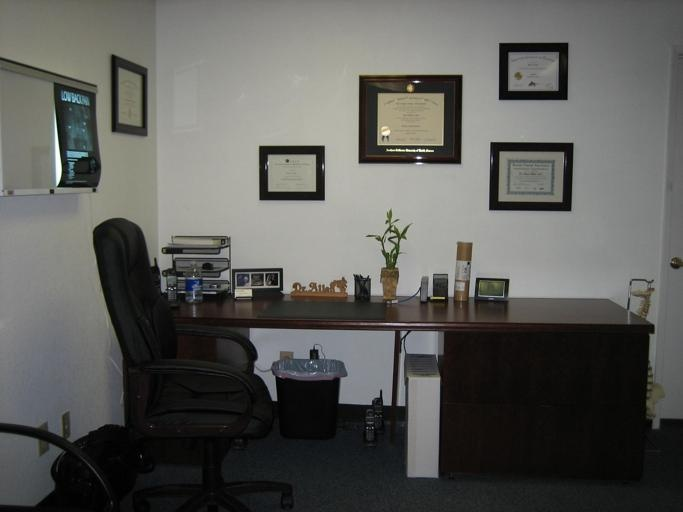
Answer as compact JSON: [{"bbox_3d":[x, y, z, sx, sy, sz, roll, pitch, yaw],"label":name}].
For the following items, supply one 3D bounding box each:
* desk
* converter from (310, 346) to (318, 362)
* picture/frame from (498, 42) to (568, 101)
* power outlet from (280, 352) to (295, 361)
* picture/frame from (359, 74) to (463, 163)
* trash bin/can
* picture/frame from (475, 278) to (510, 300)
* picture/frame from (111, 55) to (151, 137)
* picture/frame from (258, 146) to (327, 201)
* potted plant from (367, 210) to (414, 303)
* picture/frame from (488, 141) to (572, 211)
[{"bbox_3d":[0.382,0.890,3.646,2.647,1.131,0.847,-1,2,6],"label":"desk"},{"bbox_3d":[-0.178,0.651,3.796,0.053,0.115,0.057,1,8,4],"label":"converter"},{"bbox_3d":[1.223,-1.184,3.640,0.314,0.302,0.028,0,8,5],"label":"picture/frame"},{"bbox_3d":[-0.377,0.677,3.886,0.057,0.016,0.059,1,21,3],"label":"power outlet"},{"bbox_3d":[0.467,-0.910,3.710,0.494,0.473,0.041,0,2,3],"label":"picture/frame"},{"bbox_3d":[-0.218,0.829,3.659,0.500,0.444,0.450,0,-3,-1],"label":"trash bin/can"},{"bbox_3d":[0.965,0.214,3.687,0.214,0.164,0.123,0,-4,6],"label":"picture/frame"},{"bbox_3d":[-1.293,-0.964,3.525,0.288,0.389,0.023,14,17,27],"label":"picture/frame"},{"bbox_3d":[-0.308,-0.559,3.784,0.316,0.308,0.016,0,3,1],"label":"picture/frame"},{"bbox_3d":[0.336,-0.007,3.730,0.289,0.560,0.307,-4,14,-16],"label":"potted plant"},{"bbox_3d":[1.214,-0.510,3.707,0.441,0.442,0.025,3,-7,24],"label":"picture/frame"}]
